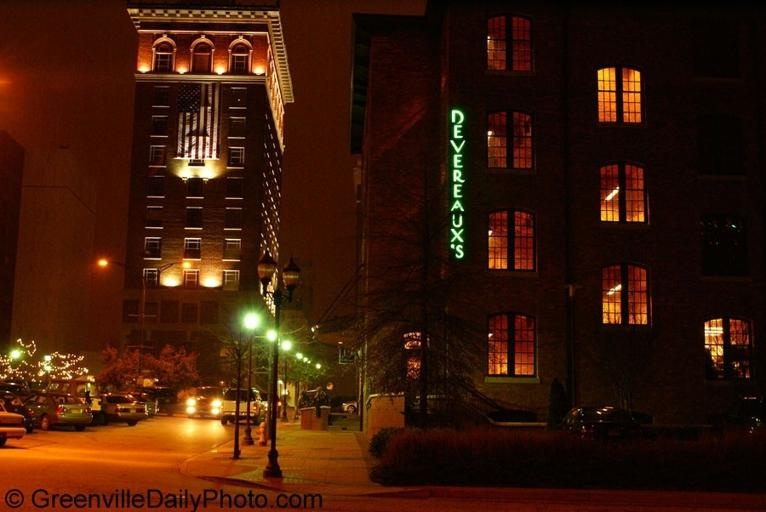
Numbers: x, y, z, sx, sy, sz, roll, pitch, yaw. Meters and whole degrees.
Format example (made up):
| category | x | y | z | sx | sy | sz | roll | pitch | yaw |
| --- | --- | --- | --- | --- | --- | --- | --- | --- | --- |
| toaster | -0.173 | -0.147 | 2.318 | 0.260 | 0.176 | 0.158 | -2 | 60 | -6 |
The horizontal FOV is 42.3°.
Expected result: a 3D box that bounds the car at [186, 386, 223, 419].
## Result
| category | x | y | z | sx | sy | sz | roll | pitch | yaw |
| --- | --- | --- | --- | --- | --- | --- | --- | --- | --- |
| car | -13.405 | 10.988 | 75.026 | 1.814 | 2.169 | 5.511 | 9 | -16 | -25 |
